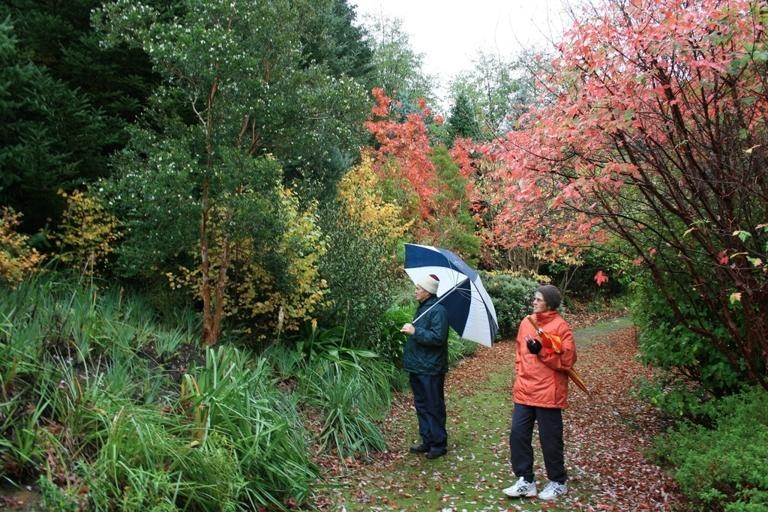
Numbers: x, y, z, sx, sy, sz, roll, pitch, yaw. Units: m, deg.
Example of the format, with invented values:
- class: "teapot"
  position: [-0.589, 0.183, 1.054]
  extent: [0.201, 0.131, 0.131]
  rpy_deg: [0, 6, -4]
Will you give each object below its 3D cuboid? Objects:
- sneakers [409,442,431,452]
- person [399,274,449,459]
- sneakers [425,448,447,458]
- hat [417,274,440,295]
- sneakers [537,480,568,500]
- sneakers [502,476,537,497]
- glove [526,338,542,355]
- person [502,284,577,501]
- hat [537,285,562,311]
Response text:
- class: "sneakers"
  position: [0.456, 2.394, 7.944]
  extent: [0.240, 0.117, 0.110]
  rpy_deg: [6, -9, 2]
- class: "person"
  position: [0.517, 1.363, 7.879]
  extent: [0.530, 2.244, 0.386]
  rpy_deg: [0, -8, 1]
- class: "sneakers"
  position: [0.645, 2.421, 7.791]
  extent: [0.278, 0.135, 0.103]
  rpy_deg: [7, -6, -19]
- class: "hat"
  position: [0.571, 0.353, 8.055]
  extent: [0.262, 0.216, 0.225]
  rpy_deg: [39, 2, 6]
- class: "sneakers"
  position: [1.854, 2.562, 6.895]
  extent: [0.338, 0.178, 0.144]
  rpy_deg: [-5, 6, -15]
- class: "sneakers"
  position: [1.525, 2.563, 7.041]
  extent: [0.440, 0.246, 0.167]
  rpy_deg: [2, -10, -10]
- class: "glove"
  position: [1.648, 0.989, 6.918]
  extent: [0.159, 0.170, 0.105]
  rpy_deg: [-7, -11, 37]
- class: "person"
  position: [1.730, 1.493, 6.970]
  extent: [0.754, 2.301, 0.358]
  rpy_deg: [-2, -9, 11]
- class: "hat"
  position: [1.868, 0.435, 7.085]
  extent: [0.210, 0.294, 0.236]
  rpy_deg: [-17, 22, 7]
